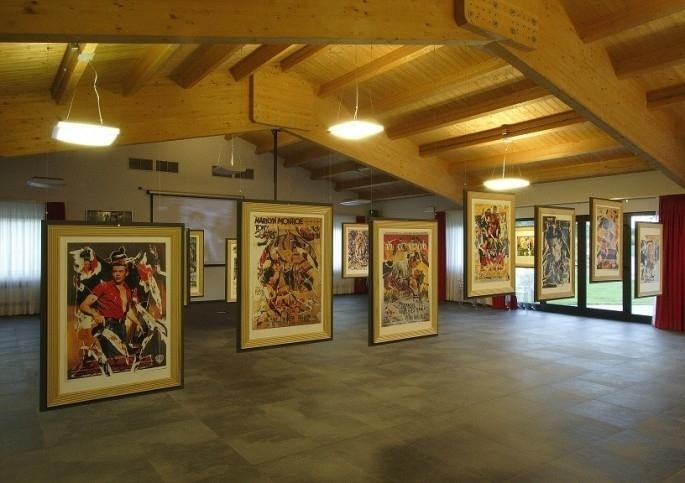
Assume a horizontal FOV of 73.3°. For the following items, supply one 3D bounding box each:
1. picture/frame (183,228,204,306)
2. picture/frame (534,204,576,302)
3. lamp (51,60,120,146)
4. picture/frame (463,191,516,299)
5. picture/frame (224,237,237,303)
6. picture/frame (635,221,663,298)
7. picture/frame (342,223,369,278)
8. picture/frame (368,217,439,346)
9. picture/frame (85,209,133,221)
[{"bbox_3d":[-4.151,0.658,12.937,0.486,1.962,1.783,-1,4,-18],"label":"picture/frame"},{"bbox_3d":[3.996,0.222,8.706,1.958,2.032,0.125,2,-3,-39],"label":"picture/frame"},{"bbox_3d":[-4.048,-2.177,7.306,0.934,1.256,1.729,-2,4,-27],"label":"lamp"},{"bbox_3d":[2.507,0.038,7.812,1.263,1.729,0.304,-3,5,-39],"label":"picture/frame"},{"bbox_3d":[-2.951,0.754,12.131,0.277,1.628,1.183,-1,4,-15],"label":"picture/frame"},{"bbox_3d":[7.090,0.413,10.699,1.911,1.997,0.138,2,-3,-42],"label":"picture/frame"},{"bbox_3d":[0.524,0.268,15.038,1.352,1.641,0.080,1,-1,41],"label":"picture/frame"},{"bbox_3d":[0.923,0.571,6.922,1.240,1.798,0.222,-3,5,-36],"label":"picture/frame"},{"bbox_3d":[-7.657,-0.881,15.119,1.397,0.312,0.183,-2,4,-30],"label":"picture/frame"}]
